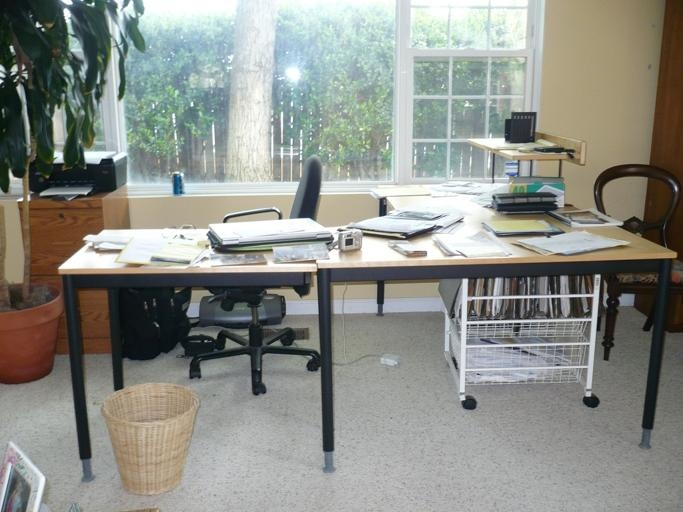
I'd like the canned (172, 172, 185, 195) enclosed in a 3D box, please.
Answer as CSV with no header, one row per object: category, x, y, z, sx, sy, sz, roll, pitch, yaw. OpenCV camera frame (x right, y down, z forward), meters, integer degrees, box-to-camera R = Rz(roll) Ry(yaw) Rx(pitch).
canned,-1.249,-0.544,4.244,0.079,0.166,0.097,-5,16,-12

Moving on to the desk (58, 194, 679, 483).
desk,0.164,0.456,2.851,2.929,1.042,0.559,-3,16,-5

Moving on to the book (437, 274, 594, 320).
book,1.001,0.225,3.060,0.359,0.150,0.463,0,7,2

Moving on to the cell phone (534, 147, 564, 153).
cell phone,1.255,-0.640,3.382,0.174,0.034,0.113,4,16,18

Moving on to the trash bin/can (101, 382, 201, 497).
trash bin/can,-0.933,0.816,2.717,0.472,0.410,0.494,0,5,-22
